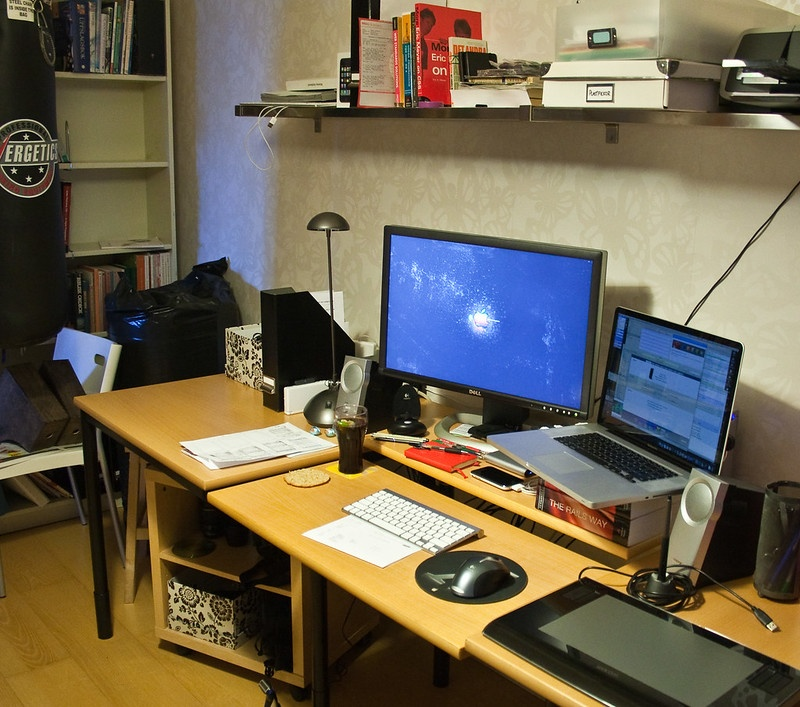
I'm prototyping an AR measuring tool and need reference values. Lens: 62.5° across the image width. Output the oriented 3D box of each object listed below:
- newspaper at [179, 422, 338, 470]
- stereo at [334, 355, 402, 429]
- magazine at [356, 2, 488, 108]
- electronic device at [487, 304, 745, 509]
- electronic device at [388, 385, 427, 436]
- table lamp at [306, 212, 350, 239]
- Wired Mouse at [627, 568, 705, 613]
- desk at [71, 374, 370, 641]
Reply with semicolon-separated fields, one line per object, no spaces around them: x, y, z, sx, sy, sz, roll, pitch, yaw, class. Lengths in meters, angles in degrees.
-0.435;0.259;1.875;0.403;0.038;0.438;13;-32;-40;newspaper
-0.119;0.110;1.985;0.094;0.166;0.113;8;-1;31;stereo
0.050;-0.905;2.040;0.377;0.287;0.217;6;14;18;magazine
0.464;0.098;1.456;0.384;0.306;0.448;-7;14;-29;electronic device
0.017;0.170;1.990;0.119;0.152;0.130;-5;-12;27;electronic device
-0.213;-0.382;1.957;0.086;0.063;0.100;8;16;26;table lamp
0.495;0.442;1.227;0.080;0.027;0.085;-24;31;-39;Wired Mouse
-0.521;0.445;2.239;0.867;0.868;0.858;-13;23;-41;desk
